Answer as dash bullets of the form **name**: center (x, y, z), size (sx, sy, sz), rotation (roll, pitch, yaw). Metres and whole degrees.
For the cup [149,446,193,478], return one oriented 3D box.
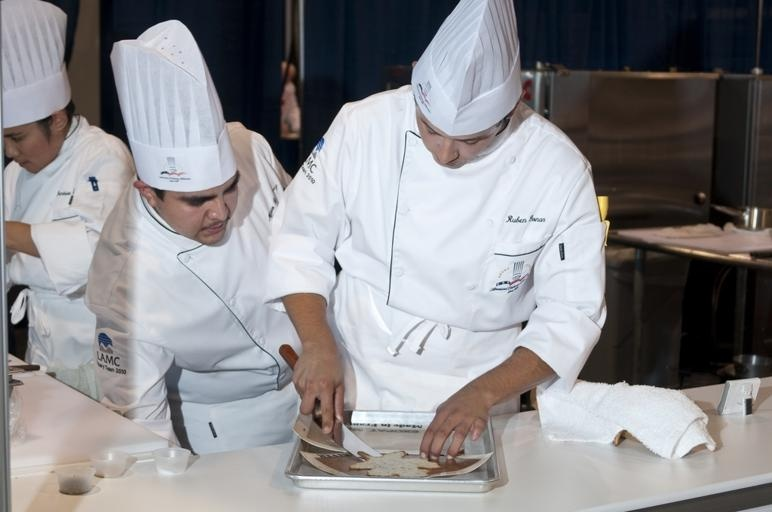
- **cup**: center (-0.493, 0.471, 1.902), size (0.066, 0.029, 0.067), rotation (3, 1, 0)

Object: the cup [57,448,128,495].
- **cup**: center (-0.664, 0.493, 1.876), size (0.127, 0.035, 0.076), rotation (-5, 9, -24)

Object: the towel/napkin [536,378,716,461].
- **towel/napkin**: center (0.572, 0.390, 1.988), size (0.278, 0.103, 0.220), rotation (4, 6, 16)

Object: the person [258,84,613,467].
- **person**: center (0.117, 0.082, 2.144), size (0.952, 1.091, 0.594), rotation (12, 44, 8)

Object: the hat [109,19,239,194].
- **hat**: center (-0.476, -0.441, 2.265), size (0.439, 0.443, 0.306), rotation (23, 37, 38)

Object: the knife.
- **knife**: center (-0.175, 0.336, 2.057), size (0.125, 0.024, 0.416), rotation (-19, 31, -6)
